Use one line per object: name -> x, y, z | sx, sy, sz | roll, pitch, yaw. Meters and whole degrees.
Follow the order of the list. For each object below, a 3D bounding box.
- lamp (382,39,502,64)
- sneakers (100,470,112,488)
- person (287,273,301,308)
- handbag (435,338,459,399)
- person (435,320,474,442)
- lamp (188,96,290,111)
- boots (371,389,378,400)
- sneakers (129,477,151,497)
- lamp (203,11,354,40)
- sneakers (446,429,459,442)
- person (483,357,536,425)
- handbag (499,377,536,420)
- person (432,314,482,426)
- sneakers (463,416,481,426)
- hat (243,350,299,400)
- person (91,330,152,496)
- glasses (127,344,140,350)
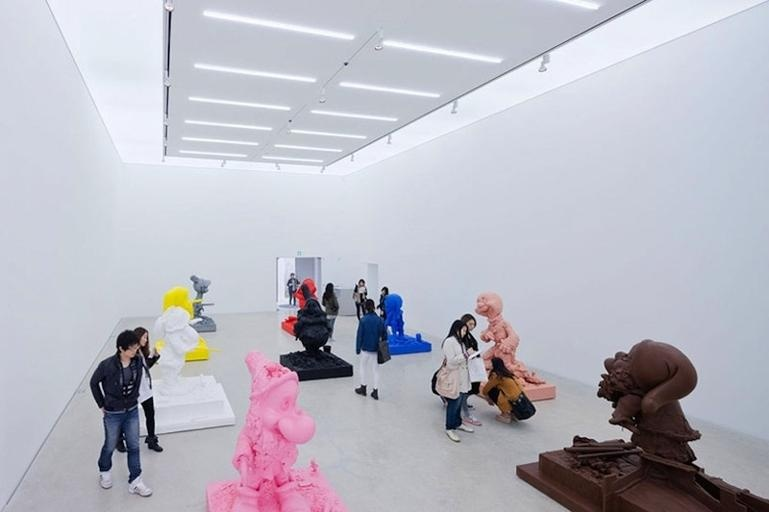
lamp -> 1.183, -4.048, 9.594 | 2.508, 0.259, 0.288 | -3, 12, -16
sneakers -> -4.252, 3.374, 7.285 | 0.160, 0.175, 0.291 | 2, -5, -33
person -> -3.731, 1.393, 19.575 | 0.468, 1.324, 0.996 | -2, 12, -11
handbag -> 1.134, 2.011, 8.510 | 0.401, 1.081, 0.466 | -2, 12, -12
person -> 1.283, 2.202, 8.757 | 0.705, 2.137, 0.820 | 1, 3, 19
lamp -> -3.617, -3.757, 11.952 | 2.376, 0.212, 0.382 | -2, 12, -13
boots -> -0.202, 2.881, 9.989 | 0.093, 0.200, 0.205 | 2, -2, -20
sneakers -> -3.624, 3.415, 7.161 | 0.361, 0.235, 0.189 | 1, -2, 13
lamp -> -1.950, -4.213, 8.833 | 2.649, 0.325, 0.229 | -2, 12, -12
sneakers -> 1.199, 3.174, 8.504 | 0.292, 0.122, 0.203 | 6, 13, 25
person -> 2.294, 2.486, 9.149 | 0.726, 1.142, 0.955 | -6, 0, -44
handbag -> 2.488, 2.718, 9.034 | 0.416, 0.780, 0.596 | -30, -1, -18
person -> 1.457, 2.185, 8.872 | 0.751, 2.273, 0.707 | -14, 16, -40
sneakers -> 1.653, 3.107, 9.041 | 0.248, 0.087, 0.157 | -1, -2, 24
hat -> -1.560, 1.516, 6.387 | 0.490, 0.370, 0.690 | -11, 28, -30
person -> -3.904, 2.306, 7.029 | 0.713, 2.434, 0.735 | -5, 13, -23
glasses -> -3.666, 1.333, 6.989 | 0.097, 0.049, 0.076 | -11, -5, 30
